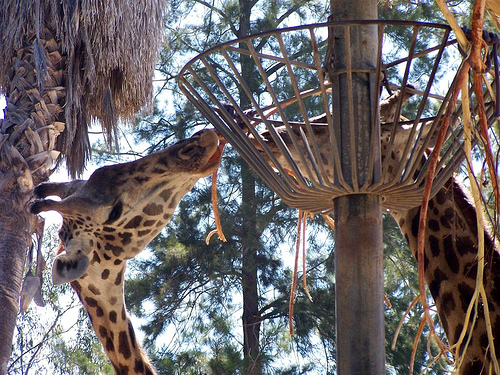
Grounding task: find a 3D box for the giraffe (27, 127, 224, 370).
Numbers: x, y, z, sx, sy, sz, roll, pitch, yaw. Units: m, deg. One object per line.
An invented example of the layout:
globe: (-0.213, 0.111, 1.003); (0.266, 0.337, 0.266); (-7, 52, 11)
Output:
giraffe: (-1.071, 0.365, 10.290); (1.105, 1.462, 1.294); (21, -36, -25)
